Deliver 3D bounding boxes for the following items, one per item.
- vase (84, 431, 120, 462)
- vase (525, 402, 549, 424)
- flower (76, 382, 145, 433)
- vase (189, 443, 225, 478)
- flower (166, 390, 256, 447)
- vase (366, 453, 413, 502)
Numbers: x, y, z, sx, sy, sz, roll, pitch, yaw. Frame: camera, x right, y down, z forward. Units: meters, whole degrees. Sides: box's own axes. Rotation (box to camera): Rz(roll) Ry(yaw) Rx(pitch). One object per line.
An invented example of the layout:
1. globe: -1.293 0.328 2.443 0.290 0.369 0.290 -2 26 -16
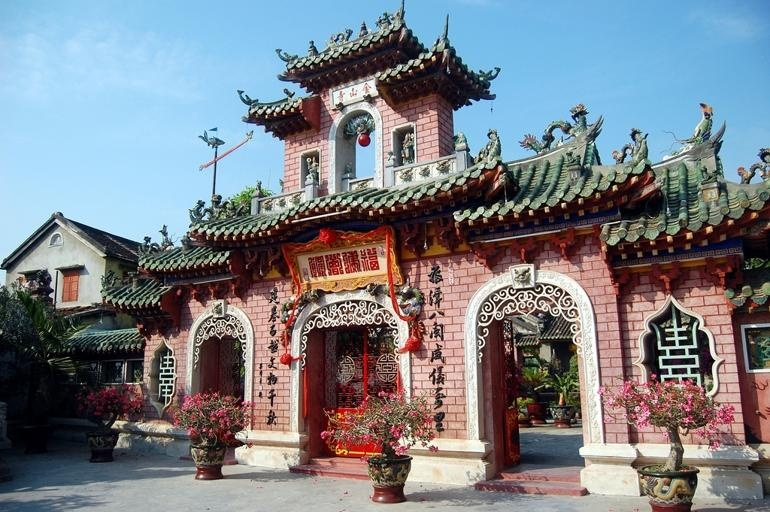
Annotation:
1. vase: -6.892 4.658 18.059 0.734 0.628 0.727 14 -20 -43
2. vase: 5.227 5.414 25.319 0.661 0.544 0.685 1 -24 -1
3. flower: -7.211 3.861 19.088 1.266 0.992 1.393 -11 -20 20
4. vase: -3.885 4.532 16.385 0.754 0.729 0.798 -1 -9 1
5. flower: -3.810 3.715 16.593 1.771 1.169 1.566 1 -3 -28
6. vase: 0.065 4.339 14.437 0.860 0.667 0.862 -1 -21 3
